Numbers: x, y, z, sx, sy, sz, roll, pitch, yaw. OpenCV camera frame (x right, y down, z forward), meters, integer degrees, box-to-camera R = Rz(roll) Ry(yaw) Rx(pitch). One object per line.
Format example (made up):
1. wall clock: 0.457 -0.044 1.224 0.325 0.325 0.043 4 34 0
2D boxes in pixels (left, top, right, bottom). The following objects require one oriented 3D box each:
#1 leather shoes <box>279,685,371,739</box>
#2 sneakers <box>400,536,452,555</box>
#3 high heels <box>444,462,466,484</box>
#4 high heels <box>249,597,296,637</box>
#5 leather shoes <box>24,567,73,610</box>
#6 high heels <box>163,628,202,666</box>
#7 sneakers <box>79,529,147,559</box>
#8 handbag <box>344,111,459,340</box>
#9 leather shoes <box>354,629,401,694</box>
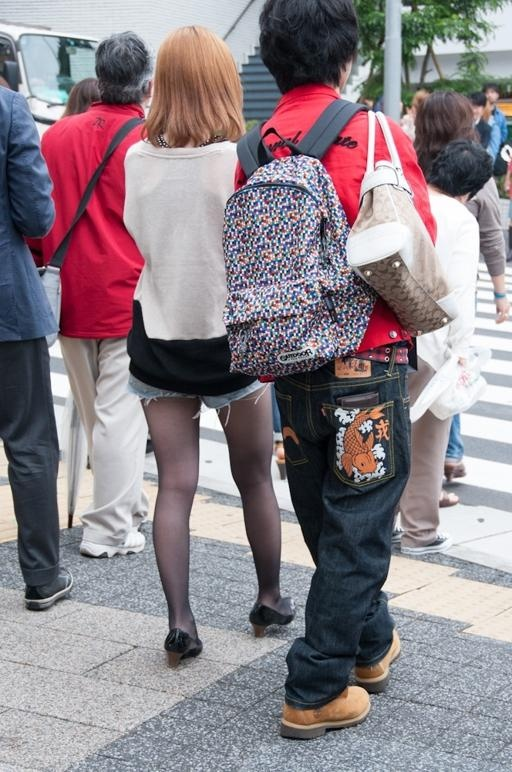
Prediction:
1. leather shoes: 0.179 0.839 1.981 0.263 0.118 0.095 -6 14 -38
2. sneakers: 0.858 0.807 3.823 0.238 0.092 0.087 -13 32 -15
3. high heels: 1.371 0.598 5.234 0.113 0.211 0.106 -30 50 14
4. high heels: 0.060 0.785 2.679 0.077 0.099 0.217 10 19 26
5. leather shoes: -0.788 0.793 2.964 0.082 0.109 0.234 4 15 18
6. high heels: -0.228 0.810 2.393 0.068 0.075 0.186 2 6 7
7. sneakers: -0.662 0.757 3.613 0.306 0.136 0.115 -13 21 -39
8. handbag: 0.323 -0.388 1.742 0.186 0.550 0.314 0 5 24
9. leather shoes: 0.370 0.797 2.268 0.084 0.104 0.238 -2 24 22
